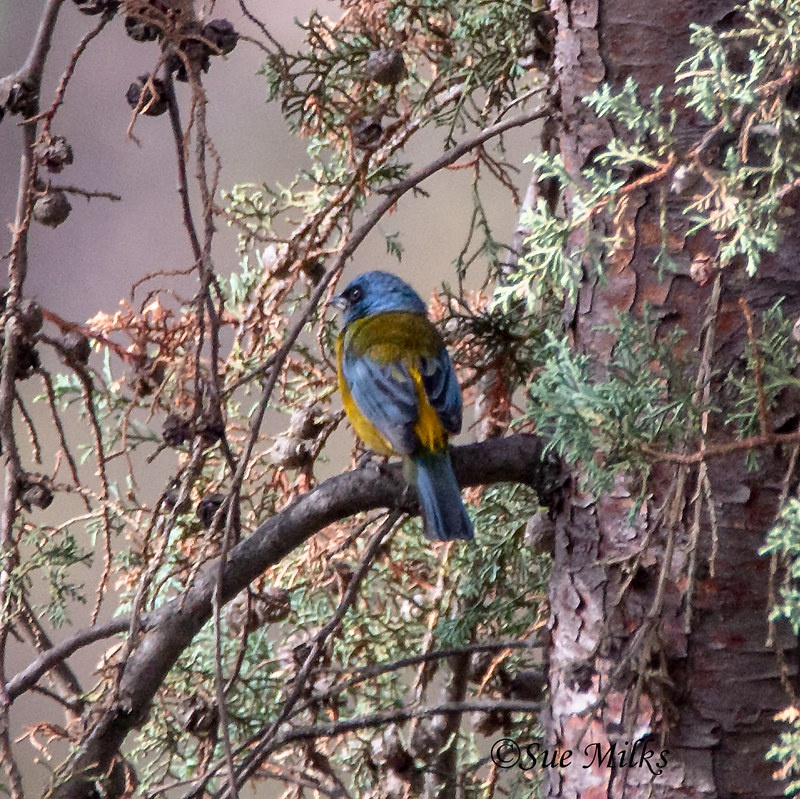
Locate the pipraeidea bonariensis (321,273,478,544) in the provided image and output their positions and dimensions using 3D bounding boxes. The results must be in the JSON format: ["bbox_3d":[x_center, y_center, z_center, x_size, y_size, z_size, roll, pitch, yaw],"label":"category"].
[{"bbox_3d":[-0.031,0.014,5.019,0.304,1.047,0.464,-2,-63,-12],"label":"pipraeidea bonariensis"}]
